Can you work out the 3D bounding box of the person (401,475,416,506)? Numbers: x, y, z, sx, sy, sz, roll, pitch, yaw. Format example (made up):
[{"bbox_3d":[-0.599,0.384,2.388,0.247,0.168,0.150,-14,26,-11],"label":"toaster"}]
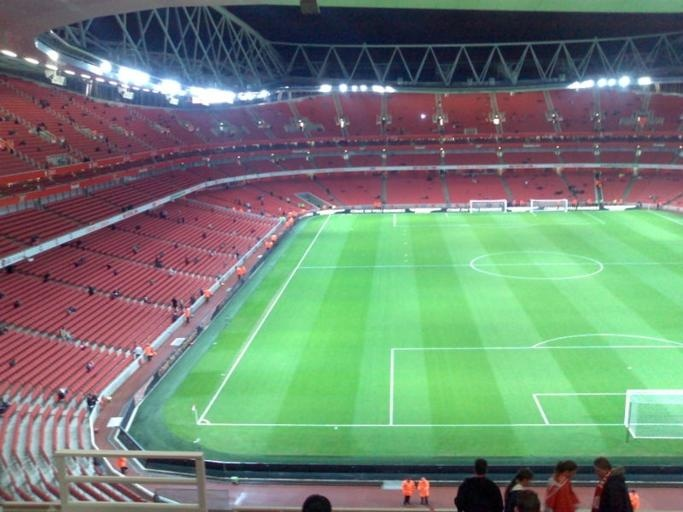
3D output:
[{"bbox_3d":[2.091,7.247,17.500,0.405,0.945,0.754,6,-46,9],"label":"person"}]

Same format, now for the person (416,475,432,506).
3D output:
[{"bbox_3d":[2.566,7.210,17.480,0.410,1.071,1.006,4,-46,11],"label":"person"}]
